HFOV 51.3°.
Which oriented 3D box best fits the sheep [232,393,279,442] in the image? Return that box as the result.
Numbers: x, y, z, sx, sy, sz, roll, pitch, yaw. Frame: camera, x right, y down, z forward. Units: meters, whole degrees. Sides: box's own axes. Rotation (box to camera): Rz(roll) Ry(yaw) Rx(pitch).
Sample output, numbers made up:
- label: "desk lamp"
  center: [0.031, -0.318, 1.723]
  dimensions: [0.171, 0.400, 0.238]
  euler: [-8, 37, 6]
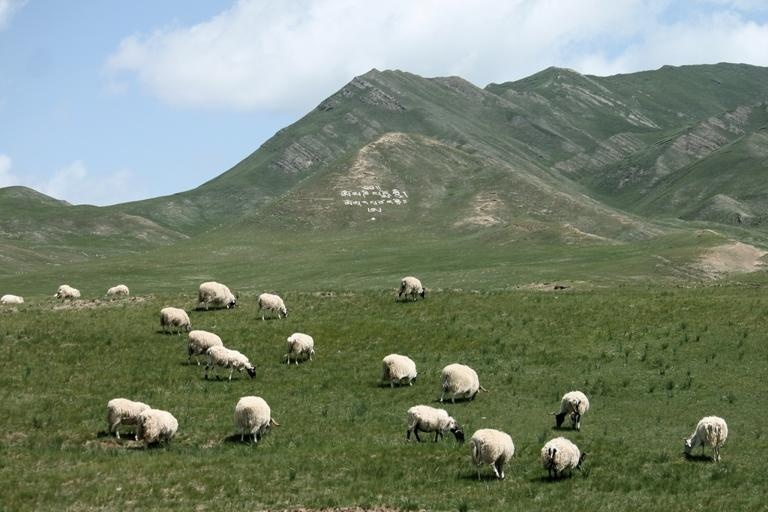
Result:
- label: "sheep"
  center: [-9.736, 12.502, 62.217]
  dimensions: [4.453, 3.559, 2.317]
  euler: [-1, -21, 22]

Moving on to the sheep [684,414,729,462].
- label: "sheep"
  center: [23.839, 13.345, 59.201]
  dimensions: [2.804, 3.006, 1.794]
  euler: [-1, 3, 15]
